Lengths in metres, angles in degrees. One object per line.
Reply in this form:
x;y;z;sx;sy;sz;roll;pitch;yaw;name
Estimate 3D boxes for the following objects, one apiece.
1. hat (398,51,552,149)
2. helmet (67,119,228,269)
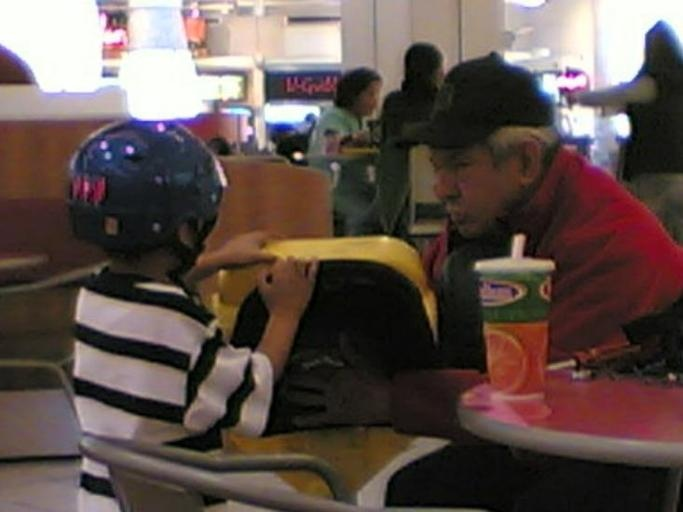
0.223;-0.244;1.078;0.190;0.121;0.138;2;8;-1;hat
-0.314;-0.127;1.113;0.236;0.224;0.185;-20;25;-40;helmet
